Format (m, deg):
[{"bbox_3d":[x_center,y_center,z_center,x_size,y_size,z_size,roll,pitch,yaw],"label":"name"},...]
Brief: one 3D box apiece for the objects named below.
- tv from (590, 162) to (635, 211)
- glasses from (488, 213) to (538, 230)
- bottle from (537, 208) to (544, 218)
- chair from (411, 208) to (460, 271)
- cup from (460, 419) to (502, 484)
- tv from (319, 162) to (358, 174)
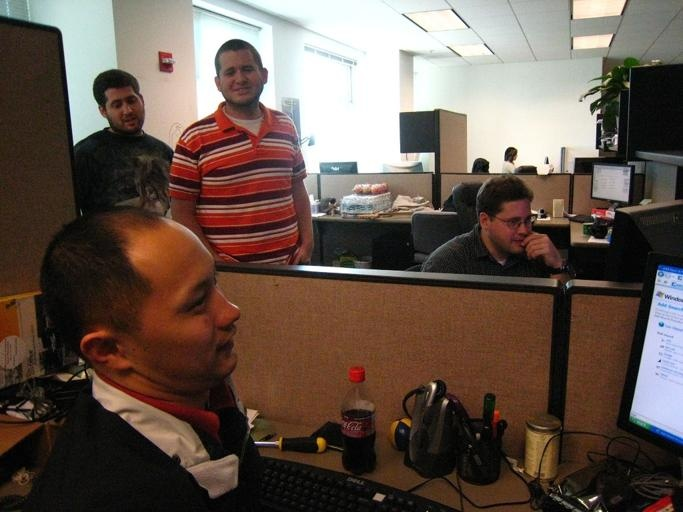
[{"bbox_3d":[1.953,-0.507,4.029,0.079,0.410,0.540,-11,14,-13],"label":"tv"},{"bbox_3d":[0.692,-0.140,2.184,0.224,0.052,0.090,-11,15,-35],"label":"glasses"},{"bbox_3d":[1.593,-0.344,4.464,0.058,0.080,0.072,0,17,-2],"label":"bottle"},{"bbox_3d":[0.628,-0.152,3.826,0.337,0.479,0.375,3,21,15],"label":"chair"},{"bbox_3d":[0.321,0.459,1.350,0.094,0.136,0.133,1,3,28],"label":"cup"},{"bbox_3d":[-0.026,-0.852,5.436,0.407,0.112,0.284,0,13,12],"label":"tv"}]
